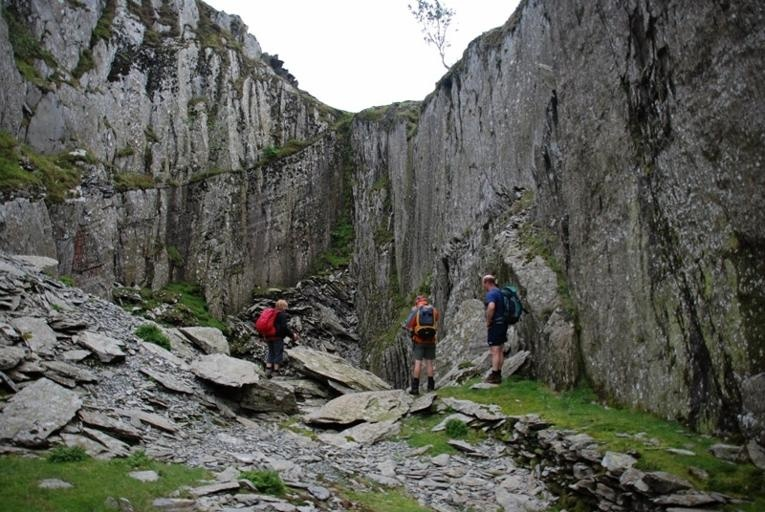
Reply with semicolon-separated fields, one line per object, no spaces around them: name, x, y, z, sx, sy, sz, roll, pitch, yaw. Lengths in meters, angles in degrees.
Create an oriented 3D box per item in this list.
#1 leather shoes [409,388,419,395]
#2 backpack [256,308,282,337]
leather shoes;0.997;4.427;20.670;0.265;0.283;0.155;6;-12;16
backpack;-3.873;2.287;21.118;0.709;1.050;0.389;4;11;-16
